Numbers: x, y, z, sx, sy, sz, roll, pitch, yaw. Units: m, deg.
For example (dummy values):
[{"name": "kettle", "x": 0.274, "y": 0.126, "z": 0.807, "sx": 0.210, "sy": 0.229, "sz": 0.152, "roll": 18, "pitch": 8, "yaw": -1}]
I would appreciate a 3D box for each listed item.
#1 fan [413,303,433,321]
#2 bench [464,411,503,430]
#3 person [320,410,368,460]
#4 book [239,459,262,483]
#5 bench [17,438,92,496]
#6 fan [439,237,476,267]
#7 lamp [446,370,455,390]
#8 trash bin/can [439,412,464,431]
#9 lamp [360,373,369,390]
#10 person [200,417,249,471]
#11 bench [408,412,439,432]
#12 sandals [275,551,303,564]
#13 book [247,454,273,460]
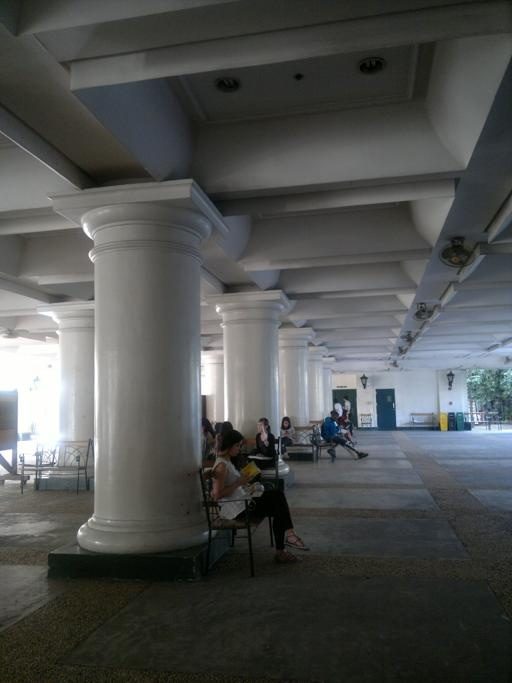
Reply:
[{"name": "fan", "x": 4.267, "y": -0.770, "z": 12.579, "sx": 0.384, "sy": 0.173, "sz": 0.527, "roll": 8, "pitch": -26, "yaw": -31}, {"name": "bench", "x": 17.516, "y": 5.946, "z": 37.282, "sx": 2.460, "sy": 1.053, "sz": 10.480, "roll": -5, "pitch": -8, "yaw": 26}, {"name": "person", "x": 2.813, "y": 3.039, "z": 16.198, "sx": 1.120, "sy": 1.555, "sz": 2.446, "roll": -3, "pitch": -7, "yaw": 15}, {"name": "book", "x": -0.071, "y": 1.337, "z": 5.065, "sx": 0.177, "sy": 0.201, "sz": 0.241, "roll": -1, "pitch": -7, "yaw": -3}, {"name": "bench", "x": -4.703, "y": 2.944, "z": 11.569, "sx": 1.592, "sy": 1.082, "sz": 0.621, "roll": -4, "pitch": -7, "yaw": 18}, {"name": "fan", "x": 2.902, "y": -1.295, "z": 7.098, "sx": 0.406, "sy": 0.384, "sz": 0.396, "roll": 2, "pitch": -3, "yaw": -44}, {"name": "lamp", "x": 13.850, "y": 2.818, "z": 34.898, "sx": 0.517, "sy": 1.368, "sz": 0.597, "roll": -6, "pitch": -8, "yaw": 32}, {"name": "trash bin/can", "x": 13.296, "y": 5.407, "z": 33.302, "sx": 1.606, "sy": 1.169, "sz": 1.361, "roll": -6, "pitch": -9, "yaw": 36}, {"name": "lamp", "x": 7.996, "y": 2.945, "z": 36.047, "sx": 0.596, "sy": 1.131, "sz": 1.472, "roll": -3, "pitch": -7, "yaw": 13}, {"name": "person", "x": -0.876, "y": 2.082, "z": 10.647, "sx": 1.225, "sy": 0.526, "sz": 1.697, "roll": 1, "pitch": -3, "yaw": -10}, {"name": "bench", "x": 12.076, "y": 5.728, "z": 35.149, "sx": 1.966, "sy": 1.137, "sz": 0.698, "roll": -3, "pitch": -7, "yaw": 16}, {"name": "sandals", "x": 0.340, "y": 2.191, "z": 4.990, "sx": 0.256, "sy": 0.109, "sz": 0.103, "roll": -2, "pitch": -6, "yaw": 15}, {"name": "book", "x": 0.099, "y": 2.157, "z": 9.136, "sx": 0.238, "sy": 0.064, "sz": 0.251, "roll": -3, "pitch": -6, "yaw": 34}]
